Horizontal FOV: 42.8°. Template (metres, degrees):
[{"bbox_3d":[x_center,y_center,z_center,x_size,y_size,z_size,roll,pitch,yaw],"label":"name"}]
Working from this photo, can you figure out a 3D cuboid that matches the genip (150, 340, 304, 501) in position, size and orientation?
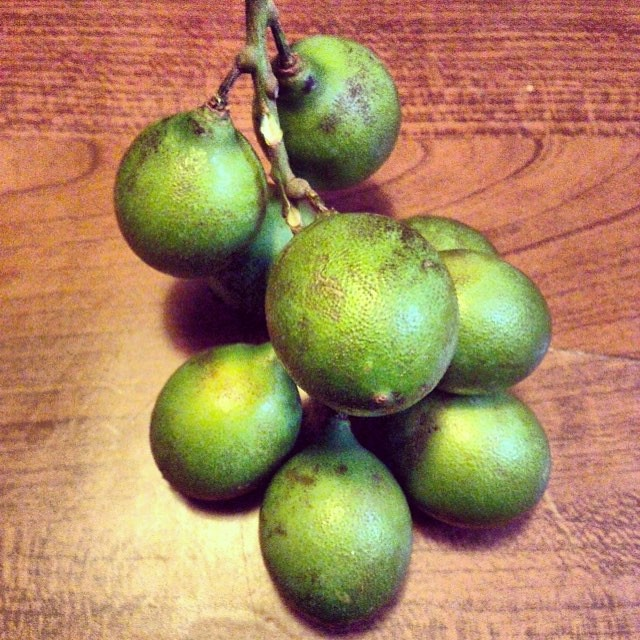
[{"bbox_3d":[-0.107,0.141,0.987,0.139,0.102,0.181,36,67,11],"label":"genip"}]

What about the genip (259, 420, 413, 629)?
[{"bbox_3d":[0.017,0.224,0.896,0.172,0.074,0.187,-37,75,-16],"label":"genip"}]

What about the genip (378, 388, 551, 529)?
[{"bbox_3d":[0.169,0.138,0.923,0.123,0.165,0.107,-15,107,-24],"label":"genip"}]

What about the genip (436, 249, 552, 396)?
[{"bbox_3d":[0.177,-0.005,0.939,0.109,0.142,0.125,-13,103,-26],"label":"genip"}]

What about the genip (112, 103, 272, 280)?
[{"bbox_3d":[-0.135,-0.155,0.972,0.147,0.213,0.168,15,22,-2],"label":"genip"}]

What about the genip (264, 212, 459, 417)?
[{"bbox_3d":[0.040,-0.014,0.793,0.181,0.074,0.184,6,68,-1],"label":"genip"}]

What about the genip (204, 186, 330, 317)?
[{"bbox_3d":[-0.073,-0.092,1.077,0.125,0.173,0.135,6,29,-26],"label":"genip"}]
